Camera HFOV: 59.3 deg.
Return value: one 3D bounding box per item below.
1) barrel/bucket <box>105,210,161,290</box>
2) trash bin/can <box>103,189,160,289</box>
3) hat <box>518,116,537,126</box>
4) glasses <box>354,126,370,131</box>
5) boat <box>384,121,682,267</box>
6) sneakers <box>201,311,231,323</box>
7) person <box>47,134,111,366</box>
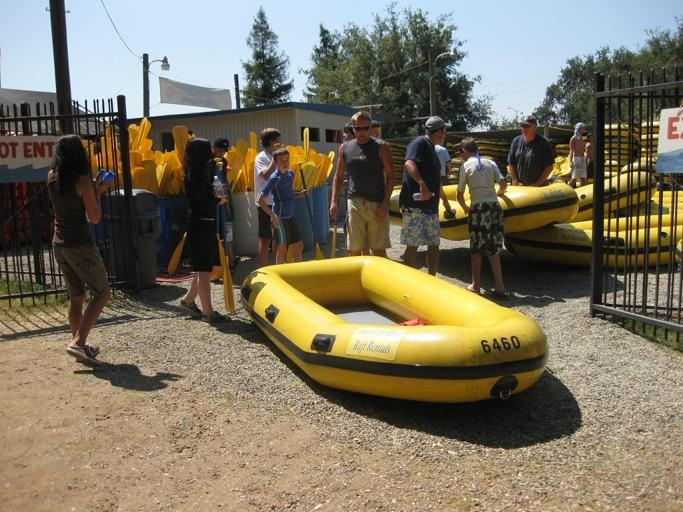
[{"bbox_3d":[-2.920,-0.139,8.138,0.752,0.999,0.769,-1,-4,0],"label":"barrel/bucket"},{"bbox_3d":[-2.772,-0.241,8.032,0.699,1.344,0.836,-6,15,-17],"label":"trash bin/can"},{"bbox_3d":[2.607,-1.863,8.366,0.218,0.105,0.157,-3,14,-32],"label":"hat"},{"bbox_3d":[0.230,-1.441,6.868,0.164,0.061,0.118,0,14,4],"label":"glasses"},{"bbox_3d":[2.792,-0.553,8.366,2.099,0.512,3.473,-11,16,-40],"label":"boat"},{"bbox_3d":[-1.399,0.669,6.677,0.251,0.096,0.130,-2,10,-1],"label":"sneakers"},{"bbox_3d":[-2.404,-0.038,5.544,0.479,2.088,0.563,-8,16,-25],"label":"person"}]
